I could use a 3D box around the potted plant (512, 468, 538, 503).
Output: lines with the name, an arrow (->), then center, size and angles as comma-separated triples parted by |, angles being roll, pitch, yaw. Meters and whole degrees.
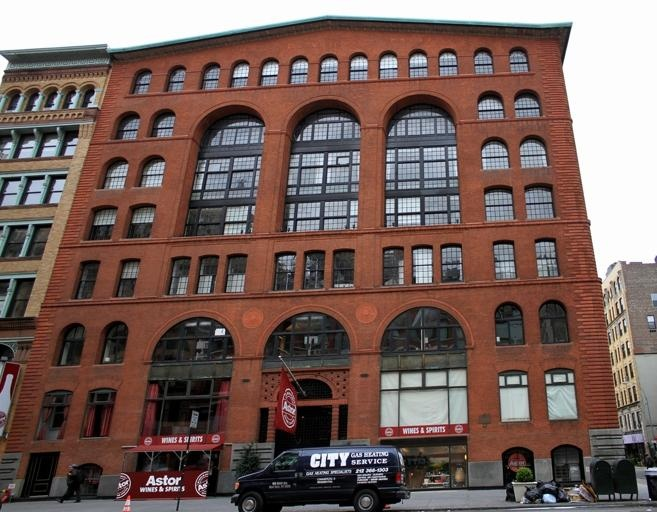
potted plant -> 9.069, 10.717, 24.811 | 1.034, 1.509, 1.237 | -17, -32, 31
